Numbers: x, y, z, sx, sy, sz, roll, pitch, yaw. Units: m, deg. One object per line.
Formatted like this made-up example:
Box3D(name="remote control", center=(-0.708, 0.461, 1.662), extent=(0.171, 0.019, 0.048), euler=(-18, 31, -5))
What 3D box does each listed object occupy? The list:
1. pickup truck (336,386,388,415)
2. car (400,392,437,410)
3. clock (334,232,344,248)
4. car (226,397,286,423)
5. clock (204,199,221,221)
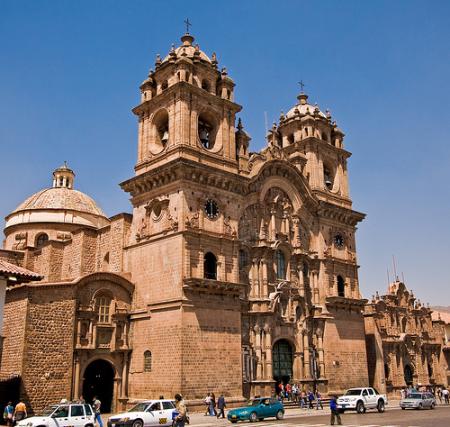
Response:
Box3D(name="pickup truck", center=(9.642, 12.970, 33.888), extent=(3.157, 1.299, 1.732), euler=(26, -42, -33))
Box3D(name="car", center=(14.769, 14.279, 37.206), extent=(2.614, 1.039, 1.426), euler=(29, -47, -31))
Box3D(name="clock", center=(11.354, 2.673, 48.669), extent=(0.069, 1.317, 1.332), euler=(-14, -26, 40))
Box3D(name="car", center=(1.849, 11.561, 28.712), extent=(3.795, 1.277, 1.018), euler=(15, -26, -38))
Box3D(name="clock", center=(-1.056, -0.248, 37.330), extent=(0.123, 1.370, 1.378), euler=(-14, -23, 33))
